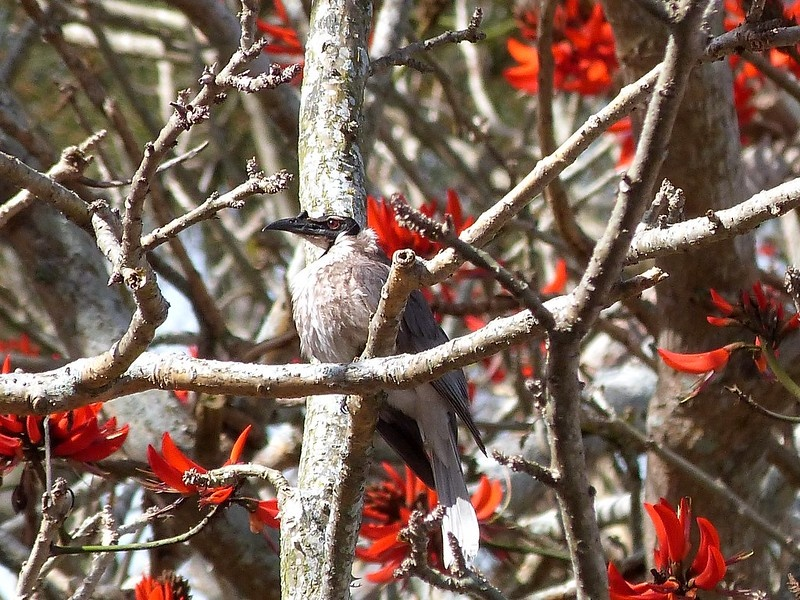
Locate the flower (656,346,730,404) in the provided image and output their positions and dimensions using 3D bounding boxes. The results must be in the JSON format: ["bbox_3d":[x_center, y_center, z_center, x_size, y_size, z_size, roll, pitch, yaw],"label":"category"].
[{"bbox_3d":[1.158,0.295,4.637,0.260,0.145,0.382,-6,-25,16],"label":"flower"}]

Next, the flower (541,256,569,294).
[{"bbox_3d":[0.891,-0.143,6.853,0.172,0.079,0.246,-17,-48,-48],"label":"flower"}]

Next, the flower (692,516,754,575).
[{"bbox_3d":[1.182,0.916,4.422,0.122,0.195,0.283,-19,-30,39],"label":"flower"}]

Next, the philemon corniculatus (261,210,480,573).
[{"bbox_3d":[-0.107,0.399,5.080,0.948,1.504,0.906,5,-23,-8],"label":"philemon corniculatus"}]

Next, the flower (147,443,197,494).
[{"bbox_3d":[-0.883,0.663,4.660,0.187,0.186,0.168,-6,-24,17],"label":"flower"}]

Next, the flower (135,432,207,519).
[{"bbox_3d":[-0.915,0.672,4.688,0.325,0.310,0.186,15,28,41],"label":"flower"}]

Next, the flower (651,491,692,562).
[{"bbox_3d":[0.989,0.859,4.388,0.144,0.233,0.140,-8,-25,22],"label":"flower"}]

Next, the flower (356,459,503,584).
[{"bbox_3d":[0.162,1.010,5.581,0.304,0.486,1.048,9,8,26],"label":"flower"}]

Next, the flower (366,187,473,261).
[{"bbox_3d":[0.091,-0.359,5.603,0.401,0.396,0.177,-10,-51,16],"label":"flower"}]

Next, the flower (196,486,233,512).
[{"bbox_3d":[-0.700,0.762,4.605,0.152,0.067,0.057,-26,0,27],"label":"flower"}]
